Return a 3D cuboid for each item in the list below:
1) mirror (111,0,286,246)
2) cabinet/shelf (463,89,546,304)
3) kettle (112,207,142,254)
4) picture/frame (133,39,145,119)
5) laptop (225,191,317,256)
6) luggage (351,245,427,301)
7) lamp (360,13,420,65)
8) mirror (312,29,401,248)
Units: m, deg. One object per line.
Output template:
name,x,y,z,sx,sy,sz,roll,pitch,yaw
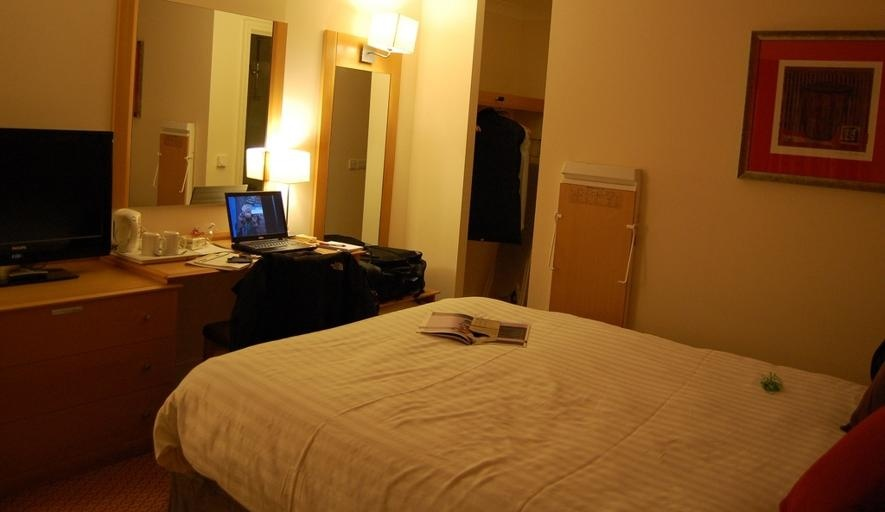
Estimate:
mirror,-1.840,-1.121,4.540,1.224,1.482,0.175,-5,16,-41
cabinet/shelf,0.616,-0.550,6.051,0.684,2.105,0.792,6,12,5
kettle,-2.214,-0.179,4.180,0.328,0.310,0.210,6,5,43
picture/frame,-2.161,-1.253,4.244,0.059,0.531,0.082,3,12,-13
laptop,-1.362,-0.267,4.672,0.604,0.401,0.544,14,16,37
luggage,-0.376,0.065,5.312,0.616,0.247,0.584,-4,24,5
lamp,-0.531,-1.923,5.328,0.521,0.397,0.469,1,16,-29
mirror,-0.766,-1.022,5.413,0.880,1.841,0.195,-5,16,-39
